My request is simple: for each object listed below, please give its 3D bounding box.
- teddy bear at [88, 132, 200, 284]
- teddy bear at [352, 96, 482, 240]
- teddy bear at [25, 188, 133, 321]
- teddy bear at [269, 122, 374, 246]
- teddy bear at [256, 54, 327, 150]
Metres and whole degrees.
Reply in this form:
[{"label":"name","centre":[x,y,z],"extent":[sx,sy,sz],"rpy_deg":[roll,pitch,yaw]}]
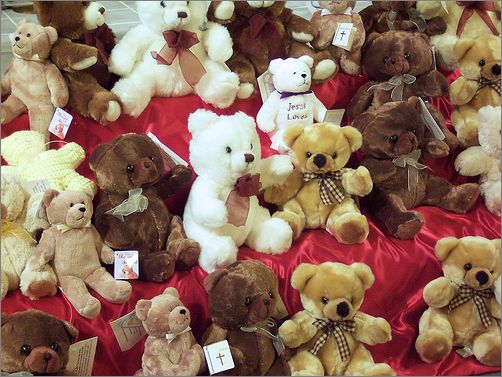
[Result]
[{"label":"teddy bear","centre":[-0.558,0.081,2.883],"extent":[0.572,0.716,0.554],"rpy_deg":[15,24,31]},{"label":"teddy bear","centre":[0.940,-0.108,3.132],"extent":[0.494,0.577,0.449],"rpy_deg":[-31,33,-22]},{"label":"teddy bear","centre":[-0.839,0.292,2.666],"extent":[0.490,0.568,0.430],"rpy_deg":[16,18,33]},{"label":"teddy bear","centre":[0.390,-0.023,2.989],"extent":[0.566,0.631,0.496],"rpy_deg":[7,21,24]},{"label":"teddy bear","centre":[0.265,-0.510,3.196],"extent":[0.432,0.528,0.361],"rpy_deg":[-10,25,-24]}]
